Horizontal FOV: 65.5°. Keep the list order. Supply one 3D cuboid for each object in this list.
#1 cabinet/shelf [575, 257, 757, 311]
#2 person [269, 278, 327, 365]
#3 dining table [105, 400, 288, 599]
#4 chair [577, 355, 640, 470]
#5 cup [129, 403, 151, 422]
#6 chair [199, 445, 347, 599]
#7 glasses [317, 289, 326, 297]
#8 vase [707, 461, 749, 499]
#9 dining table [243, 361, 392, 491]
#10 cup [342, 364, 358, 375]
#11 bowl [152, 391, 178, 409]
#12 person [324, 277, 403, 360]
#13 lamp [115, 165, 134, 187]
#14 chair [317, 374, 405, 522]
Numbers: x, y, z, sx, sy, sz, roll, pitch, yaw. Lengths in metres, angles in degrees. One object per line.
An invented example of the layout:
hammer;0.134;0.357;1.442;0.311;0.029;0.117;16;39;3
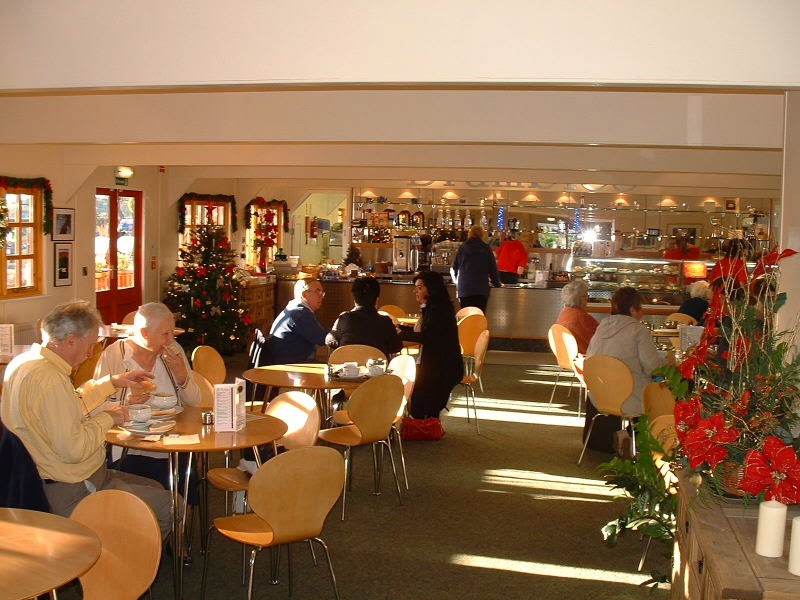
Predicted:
cabinet/shelf;4.417;-0.222;10.549;3.183;1.104;0.952;0;1;-4
person;-0.967;0.215;5.958;0.464;0.831;0.651;3;6;38
dining table;-1.052;0.997;3.631;0.978;0.942;0.993;2;4;29
chair;1.869;0.984;5.678;0.470;1.053;0.652;1;5;17
cup;-1.449;0.630;3.477;0.091;0.071;0.098;1;-6;0
chair;-0.624;0.934;3.031;0.607;0.516;0.414;2;5;22
glasses;-0.917;-0.089;7.223;0.114;0.063;0.147;-3;-9;5
vase;1.136;0.624;2.167;0.132;0.051;0.135;-1;-2;1
dining table;-0.804;0.944;4.949;0.717;0.462;0.762;7;8;36
cup;-0.389;0.542;4.921;0.099;0.075;0.075;-3;7;-13
bowl;-1.449;0.607;3.794;0.108;0.048;0.109;0;1;0
person;-0.340;0.284;6.095;0.746;1.030;0.518;5;8;8
lamp;-4.588;-2.047;10.353;0.117;0.326;0.282;1;5;15
chair;-0.264;1.022;4.745;0.598;1.068;0.543;2;14;-5
